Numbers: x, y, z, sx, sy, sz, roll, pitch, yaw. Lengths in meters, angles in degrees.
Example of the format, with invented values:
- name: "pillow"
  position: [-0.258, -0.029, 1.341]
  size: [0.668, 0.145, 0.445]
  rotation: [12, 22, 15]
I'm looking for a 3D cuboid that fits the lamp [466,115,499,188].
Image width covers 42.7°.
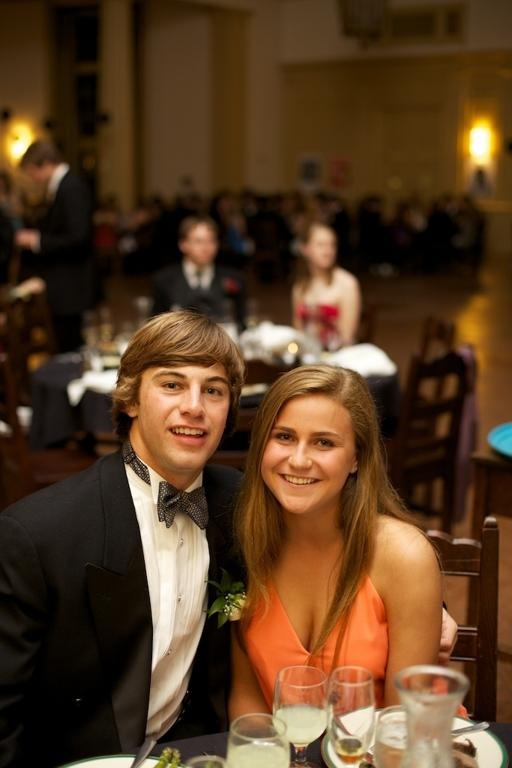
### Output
- name: "lamp"
  position: [1.335, -1.381, 3.878]
  size: [0.163, 0.346, 0.213]
  rotation: [3, 13, 17]

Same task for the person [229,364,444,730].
- name: "person"
  position: [0.151, 0.337, 1.404]
  size: [0.353, 0.798, 0.374]
  rotation: [1, 8, 2]
